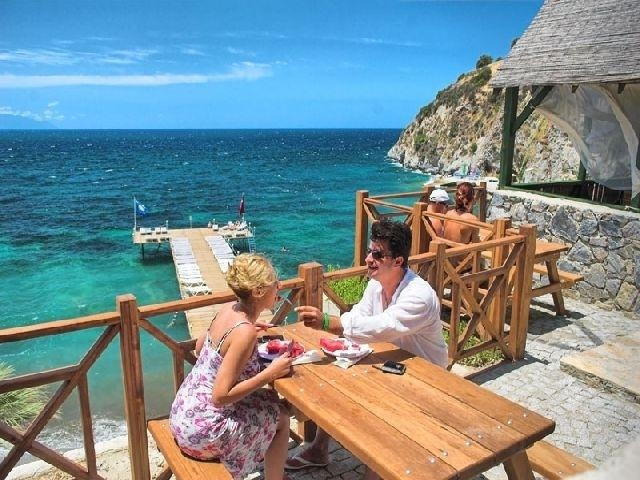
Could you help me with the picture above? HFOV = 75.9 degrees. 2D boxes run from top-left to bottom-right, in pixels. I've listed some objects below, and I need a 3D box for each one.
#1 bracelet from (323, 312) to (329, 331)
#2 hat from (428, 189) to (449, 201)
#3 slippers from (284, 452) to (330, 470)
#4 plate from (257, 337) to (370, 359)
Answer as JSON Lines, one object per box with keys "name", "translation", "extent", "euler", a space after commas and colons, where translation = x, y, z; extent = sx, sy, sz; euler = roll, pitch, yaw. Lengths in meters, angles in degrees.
{"name": "bracelet", "translation": [0.052, 0.744, 3.751], "extent": [0.063, 0.116, 0.095], "euler": [-3, 0, 3]}
{"name": "hat", "translation": [2.577, -0.935, 8.701], "extent": [0.283, 0.142, 0.388], "euler": [17, 21, 41]}
{"name": "slippers", "translation": [-0.136, 2.272, 4.255], "extent": [0.435, 0.160, 0.153], "euler": [8, -15, -7]}
{"name": "plate", "translation": [0.100, 0.916, 3.479], "extent": [0.389, 0.016, 0.340], "euler": [-4, 8, -36]}
